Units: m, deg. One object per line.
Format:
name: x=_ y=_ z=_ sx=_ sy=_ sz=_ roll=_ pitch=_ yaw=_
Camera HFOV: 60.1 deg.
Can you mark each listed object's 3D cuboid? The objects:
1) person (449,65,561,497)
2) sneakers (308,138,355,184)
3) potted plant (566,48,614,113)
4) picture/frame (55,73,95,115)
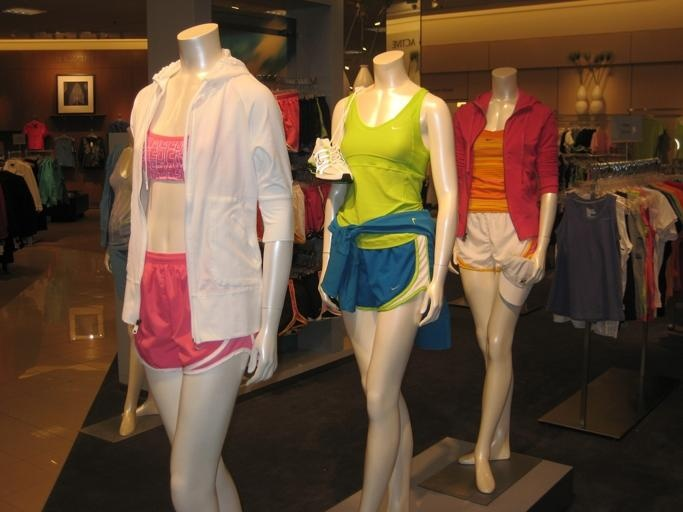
person: x=0.850 y=0.053 z=3.092 sx=0.529 sy=2.008 sz=0.708 roll=1 pitch=14 yaw=12
sneakers: x=-0.042 y=-0.390 z=2.399 sx=0.172 sy=0.176 sz=0.202 roll=-4 pitch=15 yaw=-7
potted plant: x=3.612 y=-2.532 z=8.583 sx=0.601 sy=0.905 sz=0.304 roll=4 pitch=14 yaw=22
picture/frame: x=-6.918 y=-4.277 z=15.294 sx=0.834 sy=1.040 sz=0.061 roll=1 pitch=7 yaw=-7
